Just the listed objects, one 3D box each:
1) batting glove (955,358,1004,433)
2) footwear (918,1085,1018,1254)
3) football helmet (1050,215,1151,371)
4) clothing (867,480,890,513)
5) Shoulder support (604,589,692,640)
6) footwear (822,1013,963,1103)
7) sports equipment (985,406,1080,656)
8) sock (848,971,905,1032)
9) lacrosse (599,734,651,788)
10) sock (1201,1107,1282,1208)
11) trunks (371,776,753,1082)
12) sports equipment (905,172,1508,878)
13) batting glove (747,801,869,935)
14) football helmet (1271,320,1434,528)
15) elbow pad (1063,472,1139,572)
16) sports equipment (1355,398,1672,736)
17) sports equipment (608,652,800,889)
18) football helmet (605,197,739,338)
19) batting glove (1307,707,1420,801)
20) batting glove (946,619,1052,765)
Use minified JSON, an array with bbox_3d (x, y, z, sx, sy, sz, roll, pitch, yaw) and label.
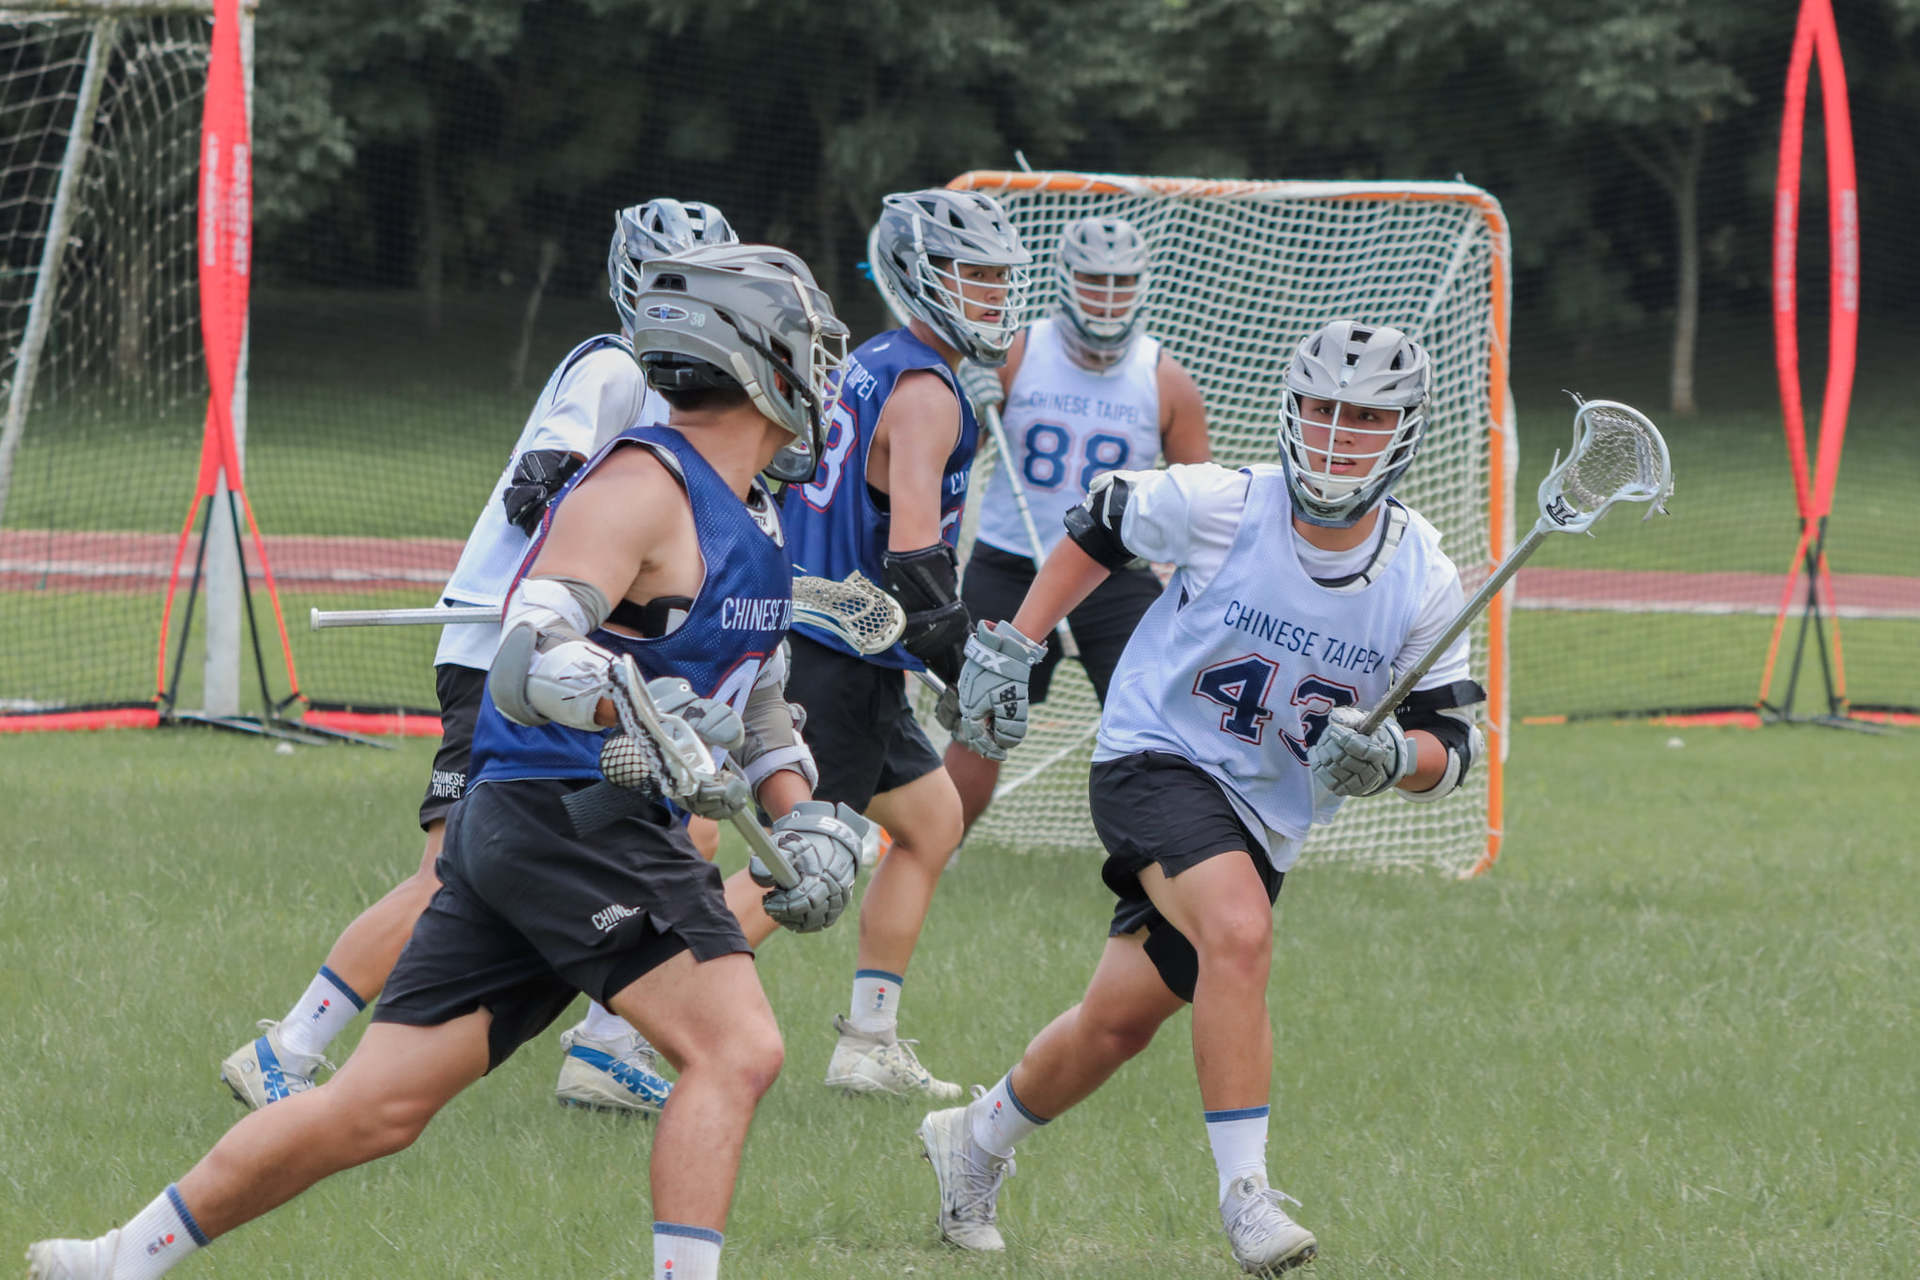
[{"bbox_3d":[0.100,-1.130,9.824,0.106,0.329,0.239,-6,-20,-3],"label":"batting glove"},{"bbox_3d":[0.096,1.899,7.548,0.287,0.632,0.214,-25,-14,36],"label":"footwear"},{"bbox_3d":[0.632,-1.566,9.682,0.441,0.628,0.596,2,-2,-3],"label":"football helmet"},{"bbox_3d":[-0.312,-0.544,8.345,0.088,0.108,0.039,5,10,6],"label":"clothing"},{"bbox_3d":[-0.903,-0.067,6.300,0.182,0.100,0.137,10,21,19],"label":"Shoulder support"},{"bbox_3d":[-0.220,1.652,8.552,0.619,0.288,0.242,9,-8,-11],"label":"footwear"},{"bbox_3d":[0.319,-0.457,9.203,0.112,1.160,0.095,-17,-10,-1],"label":"sports equipment"},{"bbox_3d":[-0.328,1.419,8.523,0.211,0.244,0.218,3,-6,-3],"label":"sock"},{"bbox_3d":[-0.949,0.357,6.212,0.125,0.167,0.145,-6,-8,-1],"label":"lacrosse"},{"bbox_3d":[0.921,1.681,7.162,0.212,0.314,0.199,-7,5,-1],"label":"sock"},{"bbox_3d":[-1.208,0.900,6.637,1.022,0.773,0.511,-23,-4,20],"label":"trunks"},{"bbox_3d":[1.022,-0.513,8.789,3.315,3.792,0.276,0,-3,4],"label":"sports equipment"},{"bbox_3d":[-0.434,0.685,6.741,0.299,0.313,0.416,27,9,-3],"label":"batting glove"},{"bbox_3d":[1.321,-0.776,7.353,0.524,0.617,0.651,11,22,15],"label":"football helmet"},{"bbox_3d":[0.503,-0.400,7.434,0.143,0.233,0.313,-29,-8,-20],"label":"elbow pad"},{"bbox_3d":[1.828,-0.300,7.137,1.527,0.647,0.116,-48,12,-21],"label":"sports equipment"},{"bbox_3d":[-0.723,0.436,6.288,0.249,0.880,0.258,-46,26,-8],"label":"sports equipment"},{"bbox_3d":[-1.066,-1.396,8.225,0.454,0.551,0.560,4,6,-21],"label":"football helmet"},{"bbox_3d":[1.326,0.363,7.143,0.317,0.256,0.182,-18,7,9],"label":"batting glove"},{"bbox_3d":[0.140,0.167,7.699,0.287,0.485,0.191,20,18,10],"label":"batting glove"}]
